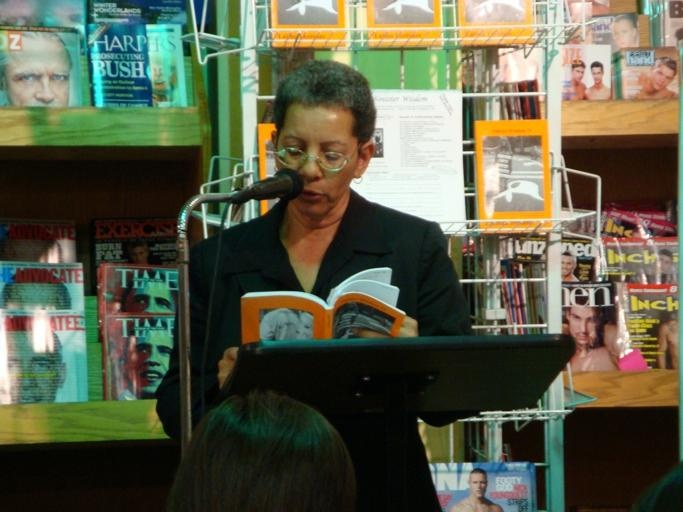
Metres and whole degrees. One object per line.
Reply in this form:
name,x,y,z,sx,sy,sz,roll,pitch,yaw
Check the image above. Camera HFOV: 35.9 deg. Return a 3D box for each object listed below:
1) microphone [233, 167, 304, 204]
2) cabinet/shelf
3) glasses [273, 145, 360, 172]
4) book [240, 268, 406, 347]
microphone,-0.168,-0.172,2.644,0.220,0.070,0.069,-17,-2,-42
cabinet/shelf,-0.035,-0.103,3.189,1.693,1.489,0.855,0,-8,-7
glasses,-0.074,-0.255,2.773,0.190,0.075,0.044,-2,-1,-1
book,-0.036,0.134,2.470,0.209,0.106,0.263,0,-20,-3
